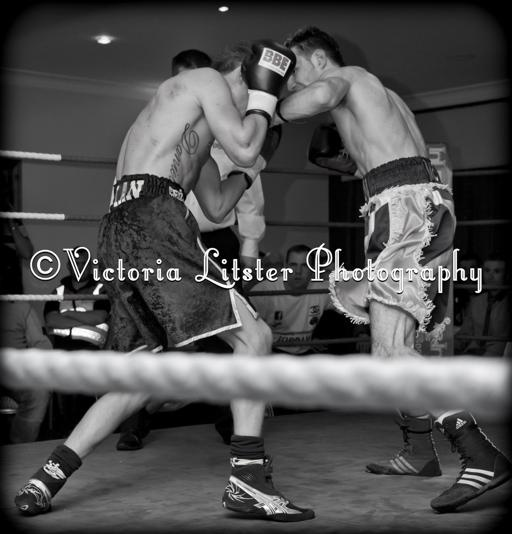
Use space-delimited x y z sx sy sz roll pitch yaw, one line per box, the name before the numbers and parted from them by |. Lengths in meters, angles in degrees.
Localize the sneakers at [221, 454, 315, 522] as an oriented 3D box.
sneakers | 0.050 0.591 1.496 0.313 0.187 0.111 3 -14 3
